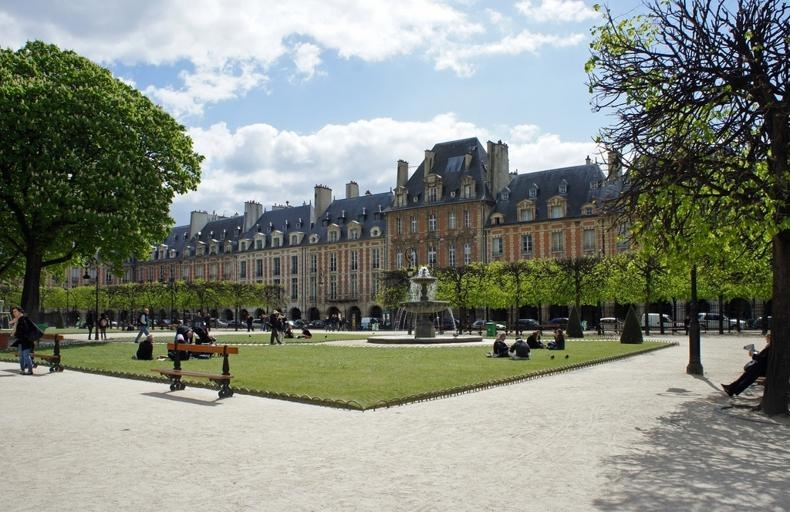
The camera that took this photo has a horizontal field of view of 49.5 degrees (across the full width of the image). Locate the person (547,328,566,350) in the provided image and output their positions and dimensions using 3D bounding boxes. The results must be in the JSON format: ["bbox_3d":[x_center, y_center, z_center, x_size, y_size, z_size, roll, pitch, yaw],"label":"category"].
[{"bbox_3d":[6.290,3.196,33.441,0.629,0.852,1.421,1,5,13],"label":"person"}]

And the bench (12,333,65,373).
[{"bbox_3d":[-11.408,3.013,27.327,2.617,1.059,0.618,0,6,41],"label":"bench"}]

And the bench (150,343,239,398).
[{"bbox_3d":[-5.221,2.984,22.482,2.730,1.290,0.873,-1,-2,38],"label":"bench"}]

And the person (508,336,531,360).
[{"bbox_3d":[4.074,3.143,28.946,0.925,0.847,0.569,-2,-3,19],"label":"person"}]
